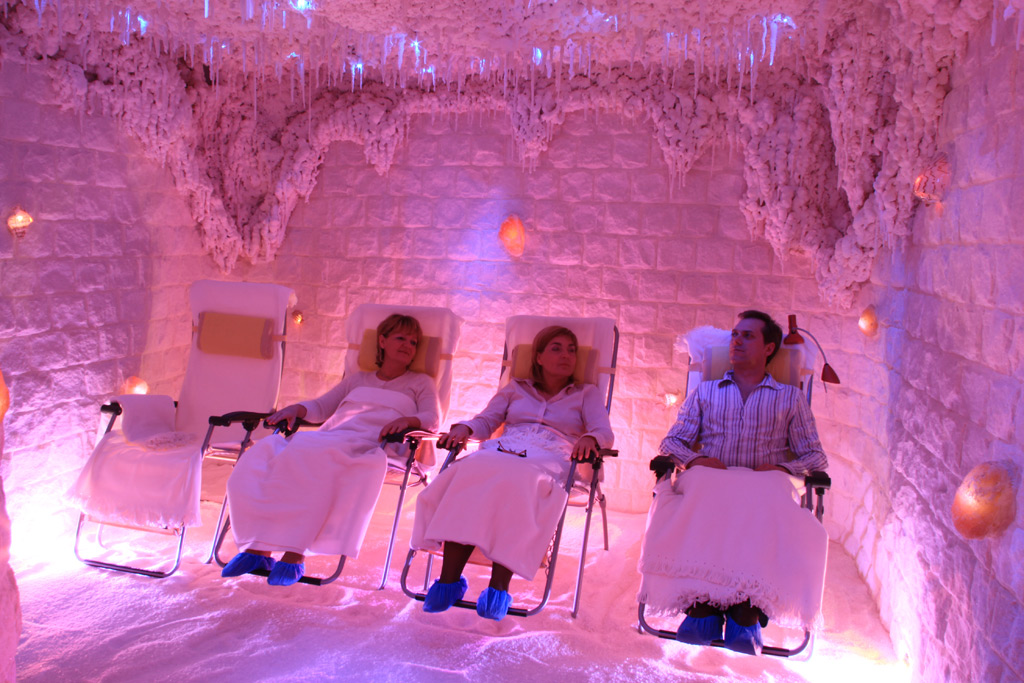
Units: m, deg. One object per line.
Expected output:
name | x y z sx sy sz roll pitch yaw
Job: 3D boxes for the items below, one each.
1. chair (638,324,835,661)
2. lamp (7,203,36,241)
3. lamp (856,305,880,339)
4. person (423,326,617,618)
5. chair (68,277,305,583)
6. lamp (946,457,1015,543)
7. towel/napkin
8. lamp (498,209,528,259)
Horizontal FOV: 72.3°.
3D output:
chair | 1.262 0.741 3.905 0.944 1.572 1.154 7 13 22
lamp | -3.140 -0.747 4.471 0.142 0.181 0.073 2 -1 -18
lamp | 2.382 -0.136 4.708 0.060 0.207 0.283 4 12 10
person | 0.053 0.712 4.217 0.976 1.340 1.443 6 13 16
chair | -2.116 0.490 4.656 0.941 1.505 1.719 8 10 2
lamp | 2.119 0.712 3.140 0.111 0.406 0.307 3 12 5
towel/napkin | -2.409 0.537 4.614 0.412 0.563 0.410 5 -20 -24
lamp | 0.017 -0.857 5.706 0.245 0.344 0.080 7 13 20
